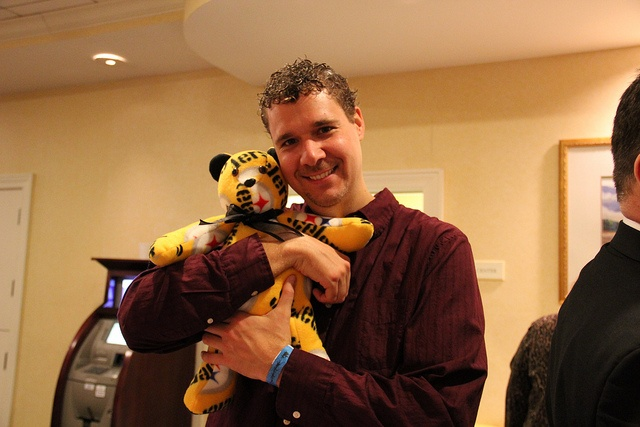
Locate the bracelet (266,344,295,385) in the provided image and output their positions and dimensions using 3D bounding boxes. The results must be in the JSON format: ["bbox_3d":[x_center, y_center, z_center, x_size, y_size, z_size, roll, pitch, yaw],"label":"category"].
[{"bbox_3d":[-0.180,0.667,2.401,0.054,0.153,0.125,28,-23,-17],"label":"bracelet"}]
